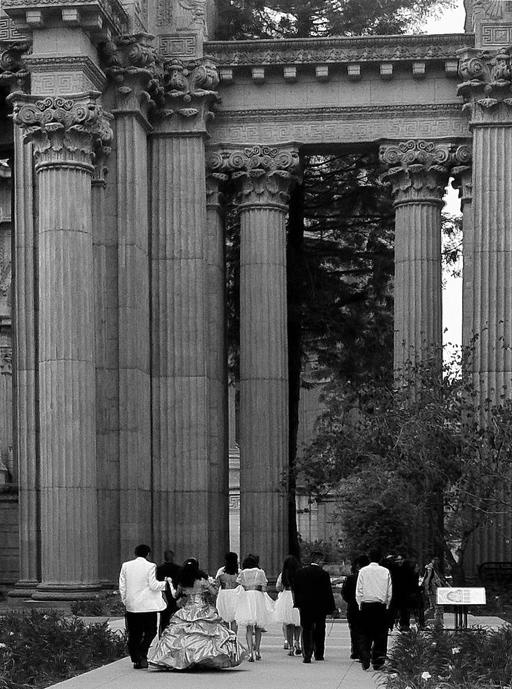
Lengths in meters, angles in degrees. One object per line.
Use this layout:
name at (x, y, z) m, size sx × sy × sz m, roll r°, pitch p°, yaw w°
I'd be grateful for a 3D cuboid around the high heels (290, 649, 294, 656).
high heels at (0.551, 4.878, 37.807) m, size 0.071 × 0.081 × 0.135 m, roll -1°, pitch -10°, yaw 4°

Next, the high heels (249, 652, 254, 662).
high heels at (-0.098, 4.827, 36.880) m, size 0.076 × 0.115 × 0.247 m, roll 2°, pitch -2°, yaw 0°

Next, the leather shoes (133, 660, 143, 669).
leather shoes at (-1.757, 4.668, 34.741) m, size 0.146 × 0.099 × 0.084 m, roll -2°, pitch -4°, yaw 10°
